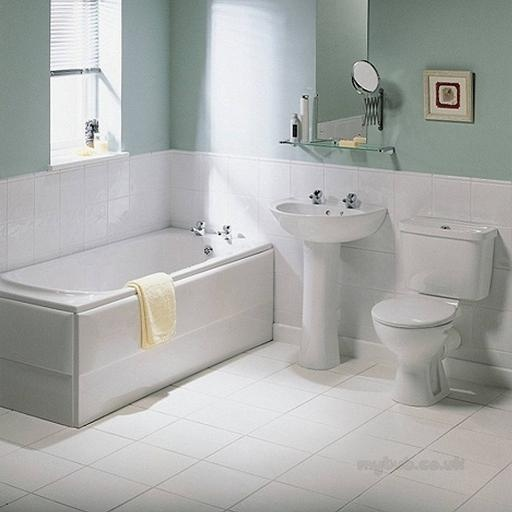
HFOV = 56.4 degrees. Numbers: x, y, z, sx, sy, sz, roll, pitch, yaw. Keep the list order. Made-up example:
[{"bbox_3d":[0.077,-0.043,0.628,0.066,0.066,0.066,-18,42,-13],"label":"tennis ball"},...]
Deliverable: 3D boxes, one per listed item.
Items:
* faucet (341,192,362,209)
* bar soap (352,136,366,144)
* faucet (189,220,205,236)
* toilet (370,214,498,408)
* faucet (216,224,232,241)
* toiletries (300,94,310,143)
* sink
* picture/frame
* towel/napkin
[{"bbox_3d":[0.590,-0.333,2.886,0.089,0.066,0.091,-3,8,-23],"label":"faucet"},{"bbox_3d":[0.611,-0.676,2.797,0.044,0.034,0.045,7,12,24],"label":"bar soap"},{"bbox_3d":[-0.433,-0.200,3.484,0.109,0.117,0.084,-1,13,-14],"label":"faucet"},{"bbox_3d":[0.916,0.294,2.582,0.722,0.886,0.513,-10,12,-35],"label":"toilet"},{"bbox_3d":[-0.220,-0.160,3.374,0.075,0.064,0.129,7,8,13],"label":"faucet"},{"bbox_3d":[0.304,-0.862,2.976,0.068,0.311,0.147,1,3,5],"label":"toiletries"},{"bbox_3d":[0.415,-0.212,2.840,0.698,0.281,0.535,2,4,18],"label":"sink"},{"bbox_3d":[1.033,-0.851,2.523,0.260,0.286,0.023,9,14,41],"label":"picture/frame"},{"bbox_3d":[-0.569,0.274,2.486,0.110,0.339,0.316,2,10,37],"label":"towel/napkin"}]
